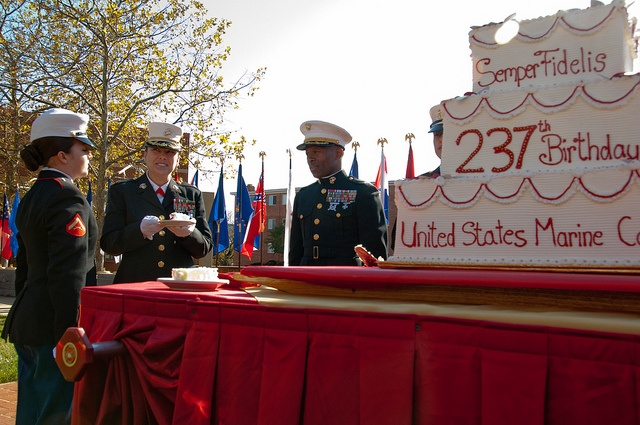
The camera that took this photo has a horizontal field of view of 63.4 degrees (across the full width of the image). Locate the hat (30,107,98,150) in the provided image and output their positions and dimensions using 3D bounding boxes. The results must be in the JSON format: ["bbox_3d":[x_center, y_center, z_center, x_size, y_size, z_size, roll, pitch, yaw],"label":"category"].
[{"bbox_3d":[-1.813,-0.615,3.844,0.446,0.234,0.320,3,-5,16],"label":"hat"}]

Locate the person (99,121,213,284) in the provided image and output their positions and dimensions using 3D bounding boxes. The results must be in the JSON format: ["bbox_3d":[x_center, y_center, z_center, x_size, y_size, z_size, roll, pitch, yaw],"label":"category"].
[{"bbox_3d":[-1.300,-0.110,4.218,0.880,1.352,0.950,2,-2,-24],"label":"person"}]

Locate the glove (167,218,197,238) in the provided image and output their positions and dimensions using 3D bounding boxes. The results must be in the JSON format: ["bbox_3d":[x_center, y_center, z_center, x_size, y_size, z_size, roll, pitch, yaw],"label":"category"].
[{"bbox_3d":[-0.997,0.106,3.788,0.191,0.060,0.145,-7,-16,43],"label":"glove"}]

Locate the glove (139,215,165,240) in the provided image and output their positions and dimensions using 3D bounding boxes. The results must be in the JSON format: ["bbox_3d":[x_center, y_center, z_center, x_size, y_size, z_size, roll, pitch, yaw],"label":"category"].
[{"bbox_3d":[-1.253,0.113,3.764,0.158,0.192,0.198,11,-13,-42],"label":"glove"}]

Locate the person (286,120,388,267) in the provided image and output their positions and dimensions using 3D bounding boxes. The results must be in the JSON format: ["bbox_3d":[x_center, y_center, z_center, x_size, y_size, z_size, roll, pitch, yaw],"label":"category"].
[{"bbox_3d":[0.147,-0.169,4.506,0.971,1.256,0.551,1,-2,21],"label":"person"}]

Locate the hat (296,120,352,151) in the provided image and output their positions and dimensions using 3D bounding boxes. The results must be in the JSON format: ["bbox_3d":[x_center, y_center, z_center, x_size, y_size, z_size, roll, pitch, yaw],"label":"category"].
[{"bbox_3d":[0.043,-0.688,4.718,0.544,0.208,0.467,5,-1,-31],"label":"hat"}]

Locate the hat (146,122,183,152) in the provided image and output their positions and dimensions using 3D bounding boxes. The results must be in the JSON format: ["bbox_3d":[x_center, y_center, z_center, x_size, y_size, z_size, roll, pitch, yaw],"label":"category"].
[{"bbox_3d":[-1.371,-0.681,4.576,0.339,0.198,0.444,11,4,-19],"label":"hat"}]
